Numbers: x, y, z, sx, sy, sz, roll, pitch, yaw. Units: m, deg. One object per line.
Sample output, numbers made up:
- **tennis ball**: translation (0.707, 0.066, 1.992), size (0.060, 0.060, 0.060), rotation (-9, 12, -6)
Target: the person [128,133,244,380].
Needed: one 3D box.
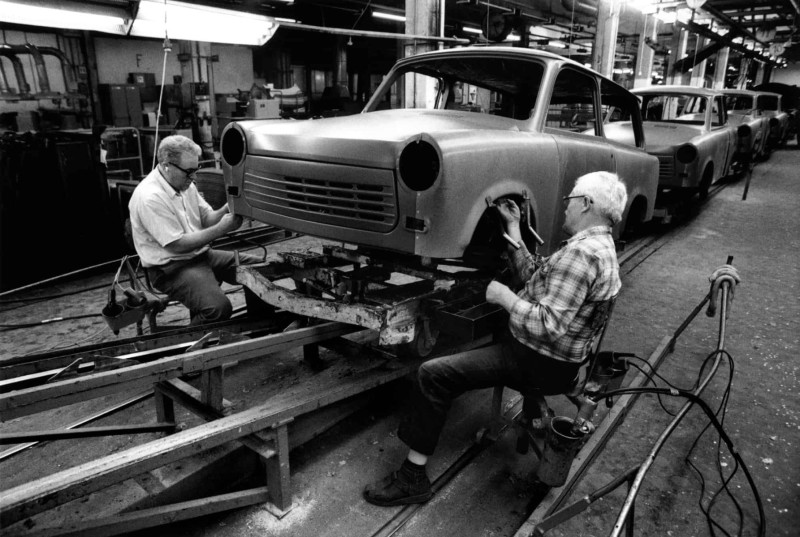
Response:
- **person**: translation (-1.971, -0.114, 5.555), size (0.954, 1.778, 1.005), rotation (31, 23, 31)

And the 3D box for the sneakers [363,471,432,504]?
- **sneakers**: translation (-0.029, 1.625, 4.263), size (0.496, 0.250, 0.239), rotation (-2, 14, 3)
